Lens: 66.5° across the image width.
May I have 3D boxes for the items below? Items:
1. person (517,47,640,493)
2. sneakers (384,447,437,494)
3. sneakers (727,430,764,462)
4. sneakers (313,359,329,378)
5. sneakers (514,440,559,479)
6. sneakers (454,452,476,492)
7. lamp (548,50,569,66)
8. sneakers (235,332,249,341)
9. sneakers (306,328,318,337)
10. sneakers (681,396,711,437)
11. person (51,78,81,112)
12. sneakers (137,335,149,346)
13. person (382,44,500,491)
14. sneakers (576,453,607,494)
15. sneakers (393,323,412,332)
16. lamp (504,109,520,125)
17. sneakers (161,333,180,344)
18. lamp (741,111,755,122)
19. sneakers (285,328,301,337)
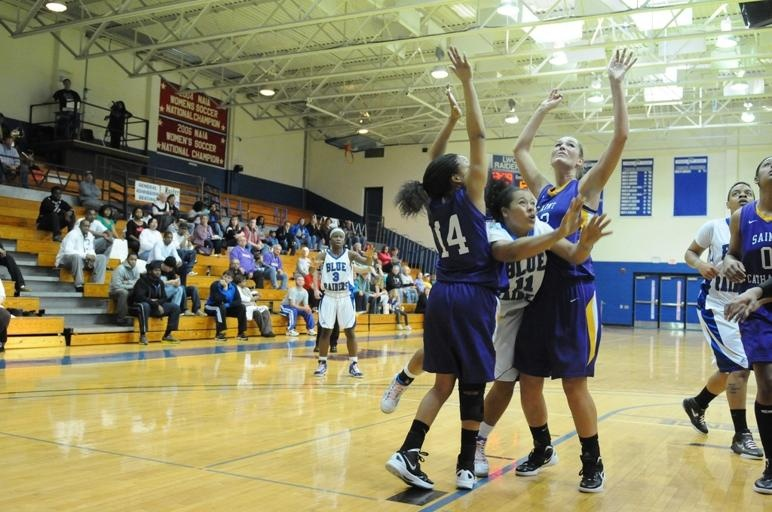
[{"bbox_3d":[1.233,0.029,4.173,0.806,3.086,0.924,0,-2,45],"label":"person"},{"bbox_3d":[0.186,1.397,3.855,0.178,0.275,0.391,0,-2,40],"label":"sneakers"},{"bbox_3d":[2.831,1.487,4.610,0.114,0.135,0.312,1,-14,2],"label":"sneakers"},{"bbox_3d":[-0.851,1.442,7.629,0.149,0.195,0.317,1,-2,-7],"label":"sneakers"},{"bbox_3d":[1.059,1.461,4.216,0.407,0.166,0.144,3,-10,-44],"label":"sneakers"},{"bbox_3d":[0.510,1.428,3.855,0.105,0.113,0.255,-1,-5,9],"label":"sneakers"},{"bbox_3d":[4.404,-5.071,14.973,0.435,0.391,0.431,0,-19,14],"label":"lamp"},{"bbox_3d":[-2.752,1.548,11.325,0.114,0.107,0.229,10,-16,-44],"label":"sneakers"},{"bbox_3d":[-1.616,1.673,12.882,0.300,0.203,0.104,0,-2,-10],"label":"sneakers"},{"bbox_3d":[2.758,1.399,5.288,0.185,0.397,0.138,-28,0,22],"label":"sneakers"},{"bbox_3d":[-8.920,-4.521,16.421,0.588,1.176,1.427,2,-2,-32],"label":"person"},{"bbox_3d":[-4.102,1.425,9.930,0.149,0.142,0.320,4,-7,-31],"label":"sneakers"},{"bbox_3d":[0.457,0.040,3.948,0.687,3.001,0.370,1,-2,5],"label":"person"},{"bbox_3d":[1.394,1.452,3.964,0.211,0.237,0.146,1,-2,0],"label":"sneakers"},{"bbox_3d":[0.462,1.921,15.908,0.428,0.177,0.169,-1,0,31],"label":"sneakers"},{"bbox_3d":[4.305,-4.707,19.925,0.478,0.474,0.456,14,-27,-10],"label":"lamp"},{"bbox_3d":[-3.752,1.442,10.281,0.290,0.127,0.126,5,-3,-3],"label":"sneakers"},{"bbox_3d":[11.726,-4.517,19.122,0.449,0.335,0.502,5,7,6],"label":"lamp"},{"bbox_3d":[-1.970,1.616,12.410,0.231,0.131,0.260,2,-2,-13],"label":"sneakers"}]
